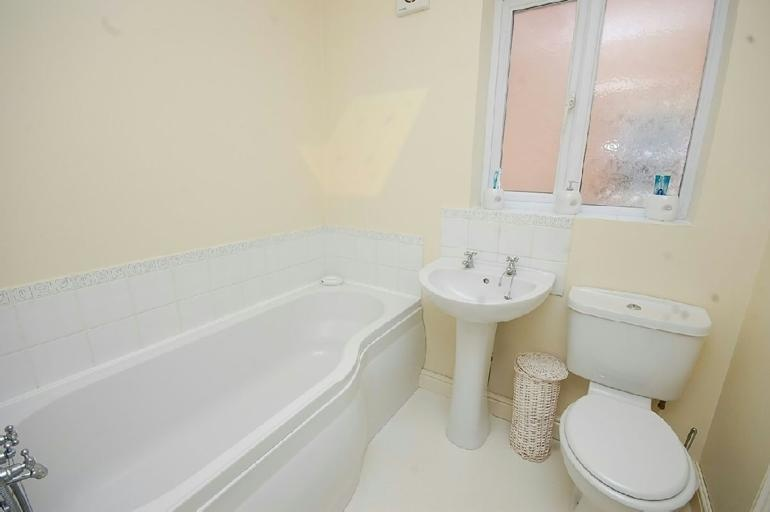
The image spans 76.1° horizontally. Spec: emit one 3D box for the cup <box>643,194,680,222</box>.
[{"bbox_3d":[1.485,-0.271,2.716,0.140,0.153,0.150,3,21,-1],"label":"cup"}]

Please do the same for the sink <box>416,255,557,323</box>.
[{"bbox_3d":[0.553,0.207,2.815,0.481,0.204,0.435,11,28,41],"label":"sink"}]

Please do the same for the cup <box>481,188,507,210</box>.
[{"bbox_3d":[0.676,-0.358,3.053,0.108,0.116,0.118,1,15,0],"label":"cup"}]

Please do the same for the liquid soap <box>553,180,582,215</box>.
[{"bbox_3d":[1.087,-0.345,2.906,0.137,0.188,0.170,11,17,28],"label":"liquid soap"}]

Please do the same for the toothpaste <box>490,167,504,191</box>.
[{"bbox_3d":[0.709,-0.487,3.103,0.063,0.125,0.154,6,16,12],"label":"toothpaste"}]
